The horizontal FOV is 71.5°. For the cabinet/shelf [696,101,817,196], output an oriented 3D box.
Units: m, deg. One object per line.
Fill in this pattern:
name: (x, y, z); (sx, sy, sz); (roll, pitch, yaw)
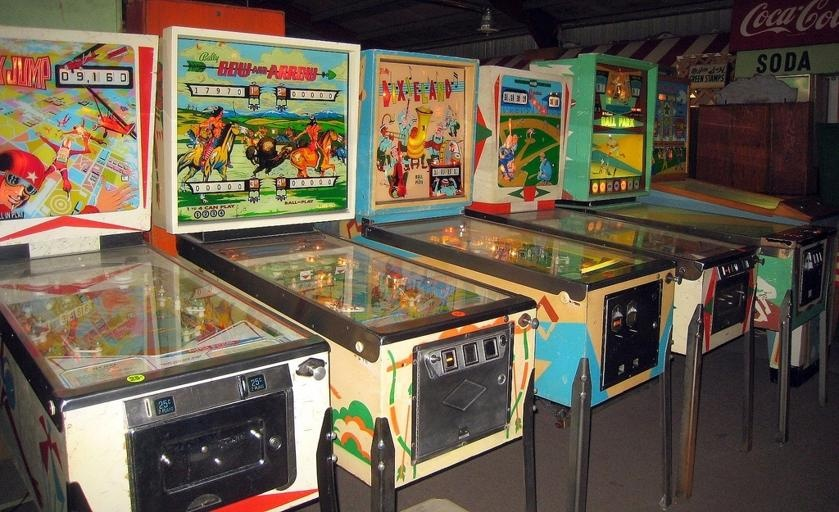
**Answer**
cabinet/shelf: (3.070, -0.981, 5.243); (0.337, 0.817, 0.973); (-18, 19, -24)
